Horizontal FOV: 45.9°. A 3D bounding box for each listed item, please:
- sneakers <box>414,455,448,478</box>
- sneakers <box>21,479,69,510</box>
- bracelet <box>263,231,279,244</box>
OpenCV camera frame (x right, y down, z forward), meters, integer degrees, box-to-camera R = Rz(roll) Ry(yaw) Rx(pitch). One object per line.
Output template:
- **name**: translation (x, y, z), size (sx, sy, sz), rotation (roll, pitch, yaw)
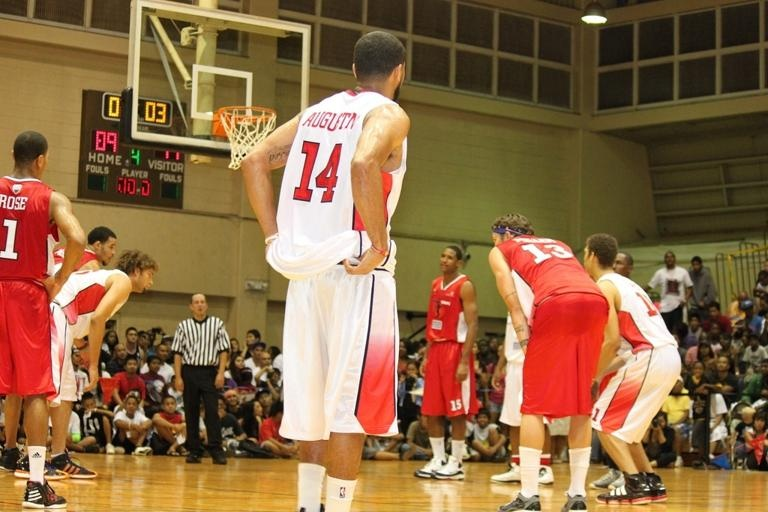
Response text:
- **sneakers**: translation (0.687, 2.901, 12.470), size (0.512, 0.228, 0.191), rotation (-29, -3, -19)
- **sneakers**: translation (-3.336, 2.357, 8.959), size (0.448, 0.283, 0.222), rotation (2, -4, -23)
- **bracelet**: translation (-0.901, -0.134, 7.261), size (0.039, 0.100, 0.073), rotation (42, -4, -30)
